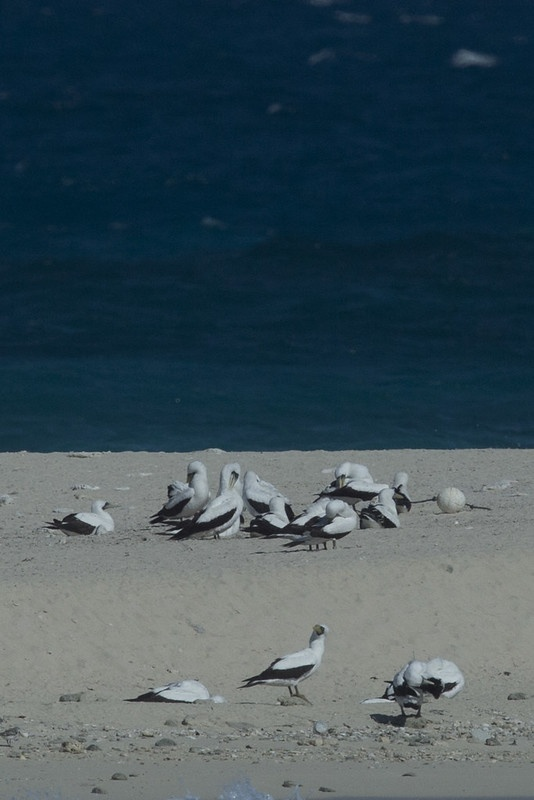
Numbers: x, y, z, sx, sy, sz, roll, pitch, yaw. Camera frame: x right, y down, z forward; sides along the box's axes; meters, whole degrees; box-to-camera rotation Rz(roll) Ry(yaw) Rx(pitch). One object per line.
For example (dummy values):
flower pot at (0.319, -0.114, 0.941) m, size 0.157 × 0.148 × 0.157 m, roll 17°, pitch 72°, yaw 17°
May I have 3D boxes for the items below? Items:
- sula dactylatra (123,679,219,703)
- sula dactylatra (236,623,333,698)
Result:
sula dactylatra at (-0.866, 2.753, 13.467) m, size 0.901 × 0.171 × 0.359 m, roll 0°, pitch 10°, yaw -6°
sula dactylatra at (0.190, 2.534, 13.569) m, size 0.552 × 0.714 × 1.025 m, roll 6°, pitch 11°, yaw 22°
